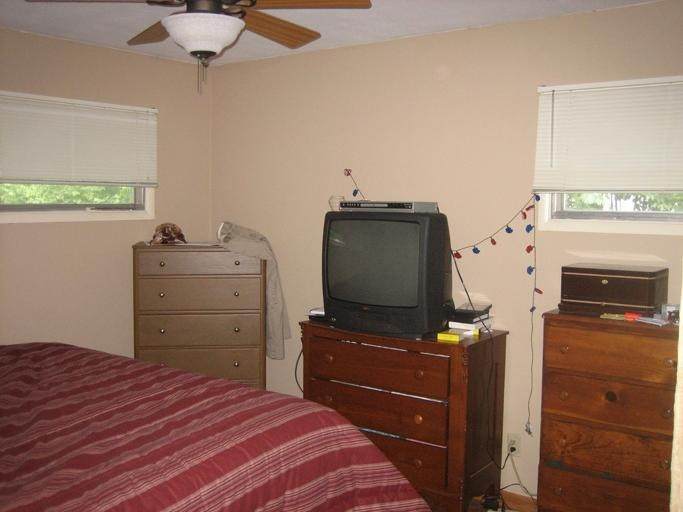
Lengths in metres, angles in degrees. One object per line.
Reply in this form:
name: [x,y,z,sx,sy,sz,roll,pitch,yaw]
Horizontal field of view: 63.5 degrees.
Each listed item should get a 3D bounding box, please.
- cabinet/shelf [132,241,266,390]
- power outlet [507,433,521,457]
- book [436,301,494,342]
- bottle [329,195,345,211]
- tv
cabinet/shelf: [-1.004,0.387,3.826,1.093,1.368,0.535,0,0,-2]
power outlet: [1.089,1.191,3.502,0.114,0.169,0.052,0,2,25]
book: [0.728,0.373,3.287,0.297,0.101,0.203,-10,6,-43]
bottle: [-0.038,-0.368,3.777,0.133,0.104,0.131,0,0,0]
tv: [0.338,0.088,3.543,0.539,0.778,0.871,-5,7,-44]
